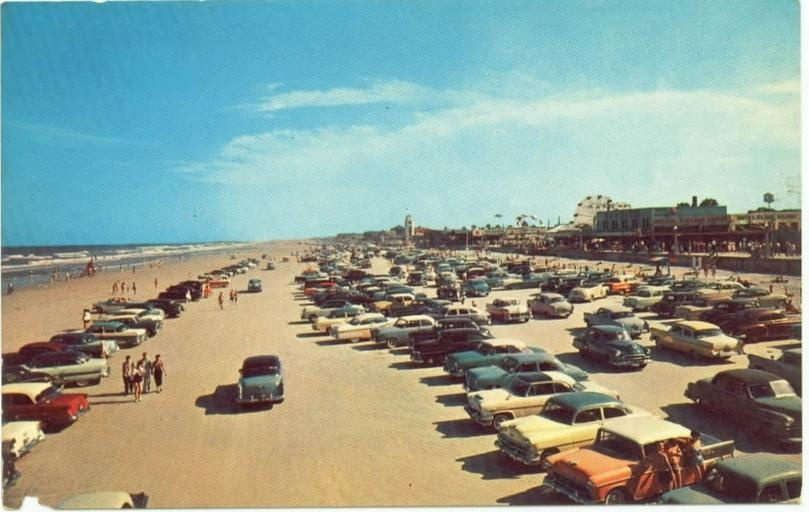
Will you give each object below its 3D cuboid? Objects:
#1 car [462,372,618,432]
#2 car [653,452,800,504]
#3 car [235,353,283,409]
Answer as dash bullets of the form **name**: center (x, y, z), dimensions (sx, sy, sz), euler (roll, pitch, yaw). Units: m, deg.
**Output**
- **car**: center (5.865, 5.855, 26.278), dimensions (5.908, 1.851, 2.667), euler (-2, 1, -10)
- **car**: center (11.873, 8.204, 21.753), dimensions (3.867, 1.751, 2.202), euler (3, -10, -7)
- **car**: center (-7.230, 5.661, 30.221), dimensions (2.335, 1.460, 4.532), euler (-1, 20, -13)
